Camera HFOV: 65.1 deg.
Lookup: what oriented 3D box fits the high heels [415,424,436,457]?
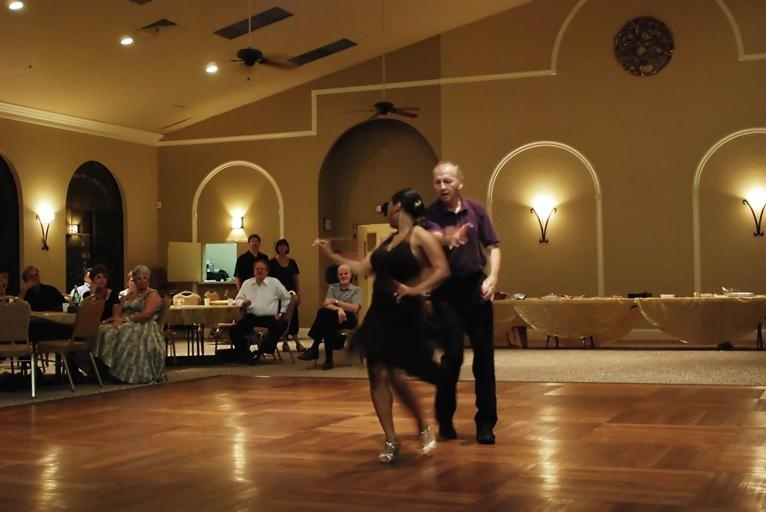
[{"bbox_3d":[0.275,1.190,3.863,0.123,0.141,0.343,-2,-16,0],"label":"high heels"}]

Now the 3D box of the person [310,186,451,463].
[{"bbox_3d":[0.082,0.414,3.806,0.681,1.714,0.372,-1,-2,6],"label":"person"}]

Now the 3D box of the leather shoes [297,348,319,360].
[{"bbox_3d":[-0.989,1.278,7.865,0.169,0.131,0.315,3,-5,-30],"label":"leather shoes"}]

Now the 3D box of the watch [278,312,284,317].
[{"bbox_3d":[-1.381,0.781,8.092,0.058,0.063,0.072,2,-11,-1],"label":"watch"}]

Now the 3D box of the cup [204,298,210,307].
[{"bbox_3d":[-2.457,0.629,8.331,0.099,0.106,0.098,1,-5,0],"label":"cup"}]

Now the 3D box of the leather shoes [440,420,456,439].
[{"bbox_3d":[0.451,1.221,4.258,0.125,0.140,0.125,-1,-11,-1],"label":"leather shoes"}]

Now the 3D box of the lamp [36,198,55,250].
[{"bbox_3d":[-6.288,-0.574,11.139,0.085,0.913,0.349,-2,-2,24],"label":"lamp"}]

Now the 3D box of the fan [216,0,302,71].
[{"bbox_3d":[-2.147,-3.805,10.148,1.140,1.135,1.026,-7,-12,26],"label":"fan"}]

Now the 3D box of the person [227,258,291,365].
[{"bbox_3d":[-1.672,0.725,8.183,0.747,1.367,0.699,2,-10,-4],"label":"person"}]

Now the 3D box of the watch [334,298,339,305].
[{"bbox_3d":[-0.600,0.578,7.793,0.060,0.057,0.055,3,-6,-5],"label":"watch"}]

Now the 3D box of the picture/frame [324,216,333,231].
[{"bbox_3d":[-1.173,-0.706,12.681,0.033,0.227,0.322,-2,-3,20],"label":"picture/frame"}]

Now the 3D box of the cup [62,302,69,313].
[{"bbox_3d":[-3.684,0.587,6.942,0.051,0.066,0.094,0,-1,-4],"label":"cup"}]

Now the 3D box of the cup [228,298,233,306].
[{"bbox_3d":[-2.094,0.614,8.204,0.056,0.068,0.102,1,-3,-7],"label":"cup"}]
